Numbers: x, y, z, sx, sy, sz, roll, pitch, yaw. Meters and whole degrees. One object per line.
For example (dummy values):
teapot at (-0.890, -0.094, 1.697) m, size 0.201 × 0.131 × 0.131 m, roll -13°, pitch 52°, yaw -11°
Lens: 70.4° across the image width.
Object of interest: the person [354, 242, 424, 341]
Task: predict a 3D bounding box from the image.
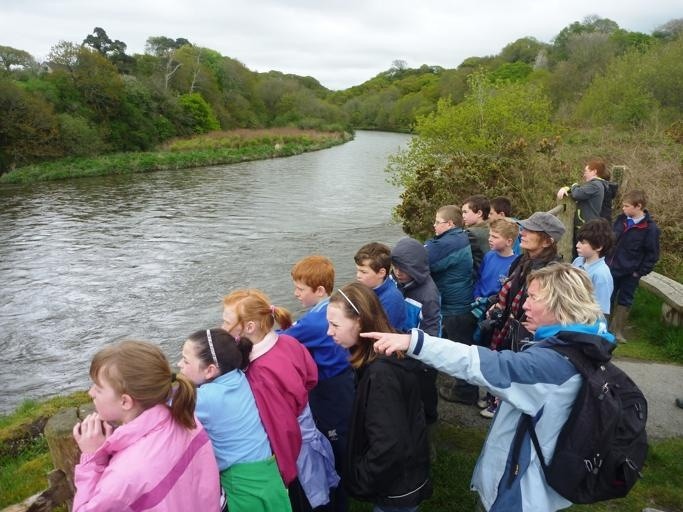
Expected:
person at (0.402, 0.448, 5.420) m, size 0.688 × 1.160 × 0.743 m, roll -11°, pitch 23°, yaw -13°

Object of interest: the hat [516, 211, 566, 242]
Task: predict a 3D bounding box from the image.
hat at (2.284, -0.335, 5.478) m, size 0.441 × 0.235 × 0.325 m, roll 26°, pitch 9°, yaw -3°

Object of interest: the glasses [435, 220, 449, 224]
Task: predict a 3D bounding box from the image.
glasses at (1.284, -0.441, 6.292) m, size 0.060 × 0.058 × 0.176 m, roll -11°, pitch 18°, yaw -39°
